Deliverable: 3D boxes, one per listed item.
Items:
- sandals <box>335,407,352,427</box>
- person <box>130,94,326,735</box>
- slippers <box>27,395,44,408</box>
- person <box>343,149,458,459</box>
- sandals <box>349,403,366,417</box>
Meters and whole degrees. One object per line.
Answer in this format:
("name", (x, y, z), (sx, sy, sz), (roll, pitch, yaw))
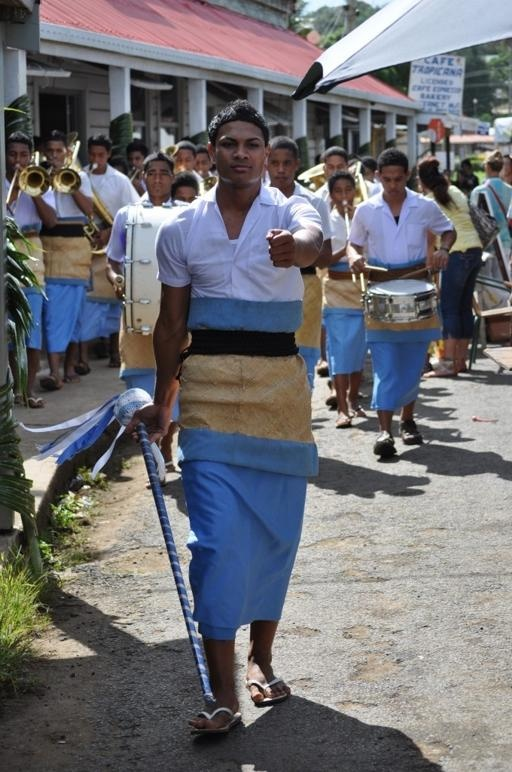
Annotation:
("sandals", (0.711, 0.250, 6.987), (0.144, 0.135, 0.357), (-1, -9, 4))
("person", (0.017, 0.053, 2.499), (0.522, 1.681, 1.042), (-1, 2, -14))
("slippers", (-1.726, 0.119, 6.781), (0.139, 0.079, 0.321), (0, -1, -12))
("person", (0.982, -0.610, 6.234), (0.933, 2.005, 0.853), (6, 19, 7))
("sandals", (0.858, 0.204, 7.386), (0.125, 0.067, 0.287), (1, -5, 3))
